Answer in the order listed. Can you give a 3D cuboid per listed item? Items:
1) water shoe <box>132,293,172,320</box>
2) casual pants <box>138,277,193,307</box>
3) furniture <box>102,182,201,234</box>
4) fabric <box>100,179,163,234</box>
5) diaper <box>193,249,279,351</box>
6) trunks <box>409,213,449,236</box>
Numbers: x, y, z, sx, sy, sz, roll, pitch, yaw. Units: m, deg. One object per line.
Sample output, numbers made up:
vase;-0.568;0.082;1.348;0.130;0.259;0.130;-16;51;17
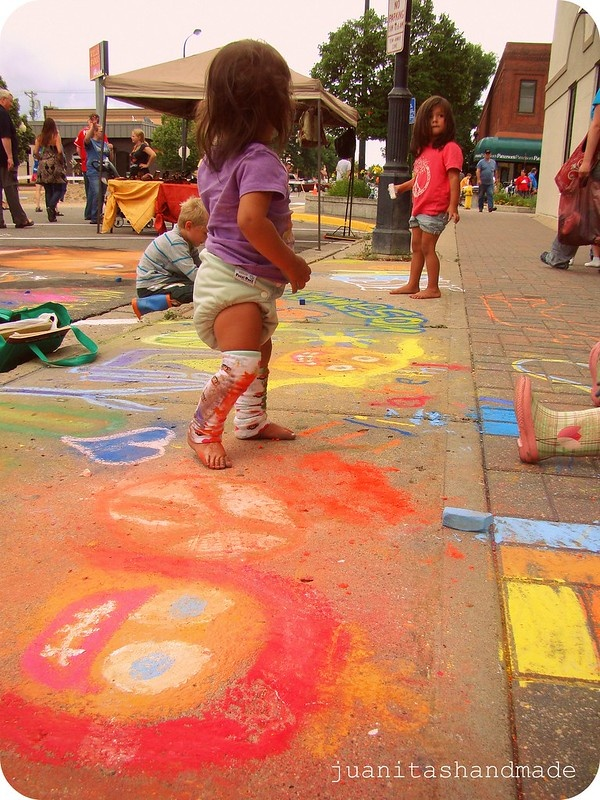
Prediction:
water shoe;-1.177;-0.755;4.638;0.277;0.129;0.219;-1;50;-10
casual pants;-1.032;-0.896;4.732;0.502;0.130;0.275;-2;53;-9
furniture;-2.445;-3.405;10.584;1.914;0.748;1.802;-5;14;-45
fabric;-2.941;-3.341;10.058;1.021;0.768;0.995;15;26;-5
diaper;-0.209;-0.325;2.230;0.344;0.464;0.353;6;-5;-1
trunks;1.177;-1.539;5.300;0.223;0.231;0.320;-3;30;-21
